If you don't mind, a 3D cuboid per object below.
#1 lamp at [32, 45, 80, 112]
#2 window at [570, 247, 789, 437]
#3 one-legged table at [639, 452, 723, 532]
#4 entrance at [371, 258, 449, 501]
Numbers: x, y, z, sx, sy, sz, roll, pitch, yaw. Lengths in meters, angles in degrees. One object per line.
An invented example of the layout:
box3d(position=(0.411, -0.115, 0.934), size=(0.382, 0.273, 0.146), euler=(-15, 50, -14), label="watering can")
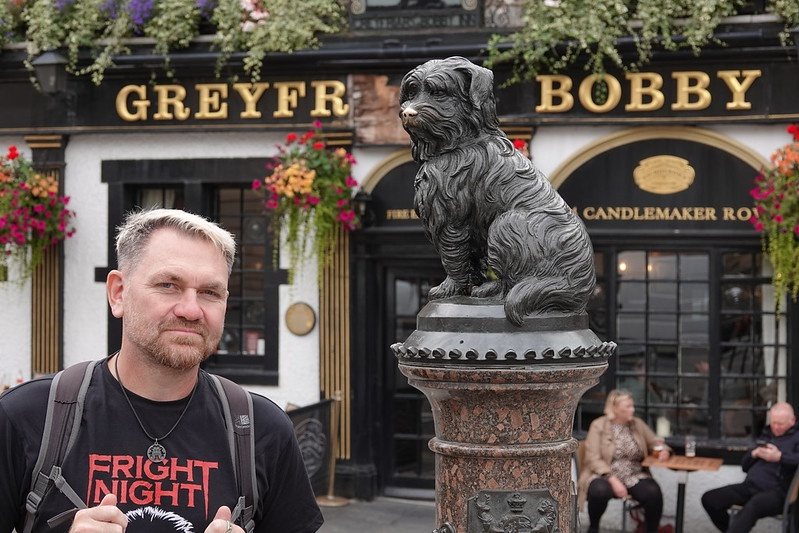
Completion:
box3d(position=(-3.979, -2.248, 19.889), size=(0.444, 0.601, 0.473), euler=(3, 11, 24), label="lamp")
box3d(position=(3.132, 0.814, 18.796), size=(2.300, 2.109, 0.112), euler=(1, 3, 11), label="window")
box3d(position=(3.146, 2.363, 18.649), size=(0.901, 0.971, 0.861), euler=(2, 5, 10), label="one-legged table")
box3d(position=(0.222, 1.250, 20.119), size=(1.120, 2.715, 0.251), euler=(-7, 16, -27), label="entrance")
